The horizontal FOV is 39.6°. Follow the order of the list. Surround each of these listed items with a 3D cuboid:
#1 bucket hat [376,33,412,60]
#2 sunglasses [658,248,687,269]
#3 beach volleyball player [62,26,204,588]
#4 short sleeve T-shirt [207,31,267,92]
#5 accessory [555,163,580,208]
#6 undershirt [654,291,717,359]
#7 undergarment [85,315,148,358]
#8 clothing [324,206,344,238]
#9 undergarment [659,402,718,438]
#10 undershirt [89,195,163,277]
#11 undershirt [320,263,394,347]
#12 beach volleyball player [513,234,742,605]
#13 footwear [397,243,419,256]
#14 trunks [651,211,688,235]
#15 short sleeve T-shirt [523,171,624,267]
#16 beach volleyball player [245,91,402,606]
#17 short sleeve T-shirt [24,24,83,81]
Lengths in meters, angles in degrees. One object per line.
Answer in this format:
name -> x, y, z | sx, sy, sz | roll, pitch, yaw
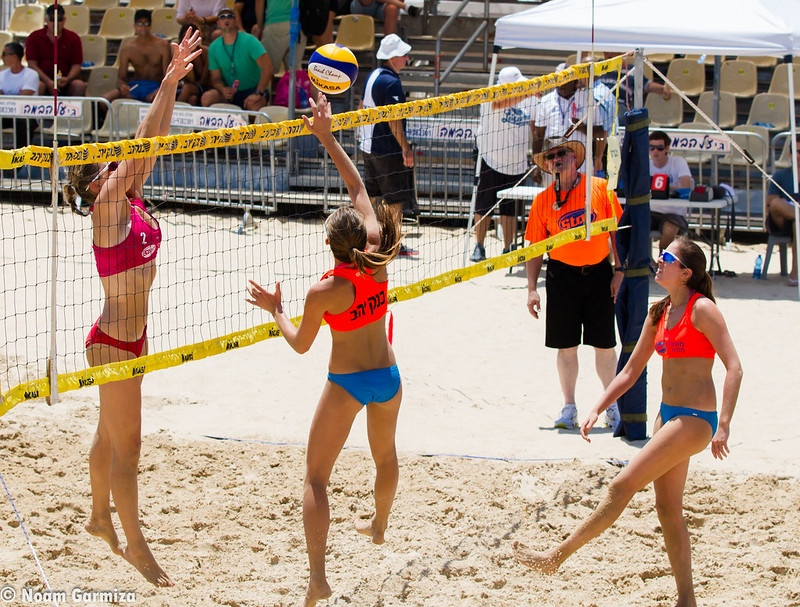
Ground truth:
bucket hat -> -0.085, -2.723, 11.796 | 0.273, 0.268, 0.490 | -1, 9, -12
sunglasses -> 1.596, -0.267, 6.547 | 0.122, 0.040, 0.099 | 33, -6, -28
beach volleyball player -> -1.631, 0.065, 6.690 | 0.696, 3.268, 0.519 | -1, 8, -18
short sleeve T-shirt -> -2.134, -3.120, 14.507 | 0.791, 0.788, 0.391 | -11, -1, 12
accessory -> 1.199, -0.850, 8.224 | 0.172, 0.275, 0.060 | 6, 8, 17
undershirt -> 1.672, 0.134, 6.480 | 0.183, 0.346, 0.238 | 20, -27, -28
undergarment -> -1.764, 0.187, 6.788 | 0.404, 0.270, 0.439 | 6, 9, -6
clothing -> -0.388, -0.476, 6.434 | 0.056, 0.156, 0.132 | 16, -2, -13
undergarment -> 1.677, 0.680, 6.462 | 0.333, 0.196, 0.271 | 4, 9, 14
undershirt -> -1.613, -0.324, 6.519 | 0.372, 0.728, 0.503 | -2, 14, -17
undershirt -> -0.244, -0.075, 6.516 | 0.411, 0.446, 0.237 | -20, 31, -21
beach volleyball player -> 1.466, 0.697, 6.534 | 0.994, 2.141, 0.805 | 2, 8, 7
footwear -> 0.079, -0.618, 12.560 | 0.249, 0.185, 0.107 | -4, 38, -10
trunks -> 2.779, -0.863, 11.553 | 0.378, 0.167, 0.373 | -3, 7, -43
short sleeve T-shirt -> 1.307, -0.659, 8.403 | 0.692, 0.732, 0.393 | -6, 31, 7
beach volleyball player -> -0.361, 0.396, 6.623 | 0.588, 2.727, 0.806 | 8, 10, 43
short sleeve T-shirt -> -4.642, -3.351, 14.953 | 0.700, 0.750, 0.402 | -1, 3, -18
